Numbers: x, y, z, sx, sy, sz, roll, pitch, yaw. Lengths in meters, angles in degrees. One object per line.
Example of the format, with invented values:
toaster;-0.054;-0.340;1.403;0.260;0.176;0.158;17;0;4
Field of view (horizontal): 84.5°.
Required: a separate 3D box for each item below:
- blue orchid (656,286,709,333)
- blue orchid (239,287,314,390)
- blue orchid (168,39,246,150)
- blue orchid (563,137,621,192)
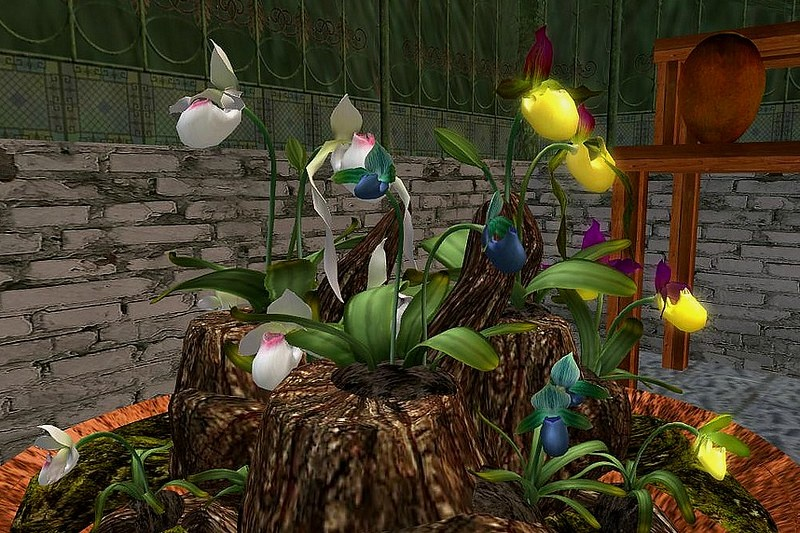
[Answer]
blue orchid;0.819;0.133;1.334;0.126;0.159;0.135;0;6;1
blue orchid;-0.288;0.186;1.044;0.136;0.265;0.118;5;16;27
blue orchid;-0.451;-0.405;1.049;0.123;0.230;0.173;13;8;40
blue orchid;0.520;-0.267;1.166;0.153;0.140;0.091;-6;15;-16
